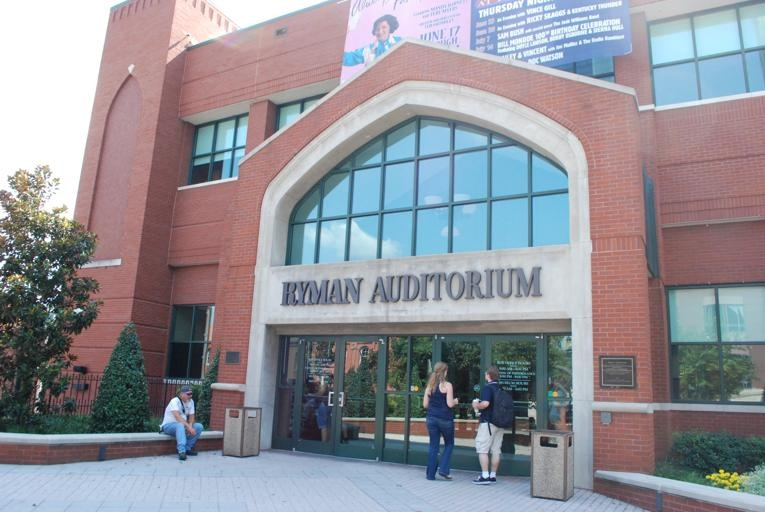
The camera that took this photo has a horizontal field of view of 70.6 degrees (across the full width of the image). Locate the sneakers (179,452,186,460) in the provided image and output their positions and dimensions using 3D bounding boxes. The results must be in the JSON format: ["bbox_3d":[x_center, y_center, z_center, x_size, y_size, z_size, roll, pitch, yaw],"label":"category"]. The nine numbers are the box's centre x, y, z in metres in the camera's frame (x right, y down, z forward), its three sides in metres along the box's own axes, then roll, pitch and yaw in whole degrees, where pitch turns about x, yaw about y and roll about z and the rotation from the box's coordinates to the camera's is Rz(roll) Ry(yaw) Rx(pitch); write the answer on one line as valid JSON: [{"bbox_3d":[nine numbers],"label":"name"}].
[{"bbox_3d":[-4.970,4.961,13.415,0.107,0.099,0.230,2,-4,-6],"label":"sneakers"}]

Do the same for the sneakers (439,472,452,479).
[{"bbox_3d":[1.437,5.075,12.481,0.360,0.160,0.282,-8,-18,27],"label":"sneakers"}]

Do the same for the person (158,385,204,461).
[{"bbox_3d":[-5.158,4.254,13.873,0.982,1.772,0.921,7,-16,-21],"label":"person"}]

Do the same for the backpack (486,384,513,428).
[{"bbox_3d":[2.643,3.337,12.076,0.533,0.935,0.261,2,-15,-5],"label":"backpack"}]

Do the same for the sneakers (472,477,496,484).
[{"bbox_3d":[2.301,5.014,12.181,0.468,0.175,0.185,1,-15,7],"label":"sneakers"}]

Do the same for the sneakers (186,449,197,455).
[{"bbox_3d":[-4.989,5.077,14.024,0.294,0.189,0.109,1,-5,-4],"label":"sneakers"}]

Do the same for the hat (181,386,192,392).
[{"bbox_3d":[-5.047,3.415,13.867,0.278,0.157,0.259,12,-19,-35],"label":"hat"}]

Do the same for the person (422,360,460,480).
[{"bbox_3d":[1.356,3.810,12.526,0.631,2.602,0.765,13,-19,-37],"label":"person"}]
